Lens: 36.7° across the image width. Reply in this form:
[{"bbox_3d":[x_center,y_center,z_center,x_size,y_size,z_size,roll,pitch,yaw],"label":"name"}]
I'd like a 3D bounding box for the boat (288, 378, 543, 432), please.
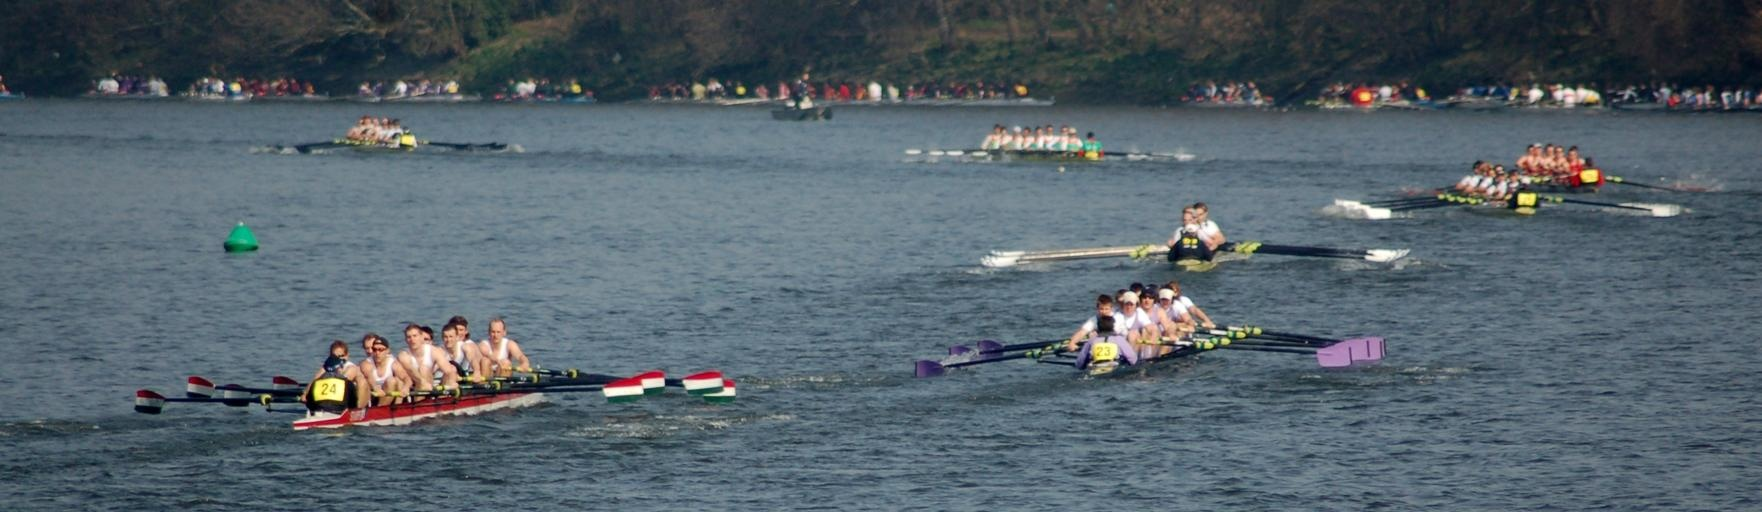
[{"bbox_3d":[-86.033,28.859,498.768,41.725,5.587,1.599,-2,11,-4],"label":"boat"}]
